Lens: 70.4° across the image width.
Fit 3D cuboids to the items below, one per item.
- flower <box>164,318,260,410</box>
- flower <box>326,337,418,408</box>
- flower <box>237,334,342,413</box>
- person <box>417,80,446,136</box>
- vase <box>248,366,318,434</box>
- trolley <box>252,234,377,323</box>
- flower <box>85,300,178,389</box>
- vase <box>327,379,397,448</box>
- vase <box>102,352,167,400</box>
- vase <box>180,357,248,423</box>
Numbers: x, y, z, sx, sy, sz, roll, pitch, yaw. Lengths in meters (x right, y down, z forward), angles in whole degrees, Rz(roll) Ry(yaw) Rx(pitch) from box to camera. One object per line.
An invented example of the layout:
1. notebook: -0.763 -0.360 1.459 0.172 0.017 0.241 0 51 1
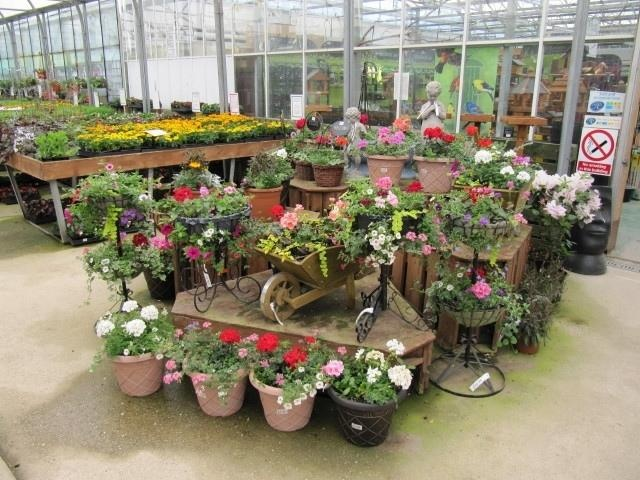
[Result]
1. flower: -0.860 0.985 3.611 0.732 0.479 0.689 14 20 37
2. flower: 0.343 0.971 3.284 0.529 0.171 0.572 -2 14 -32
3. flower: -0.172 0.963 3.378 0.713 0.304 0.688 10 13 -8
4. person: 1.318 -1.548 5.305 0.301 0.591 0.812 5 20 14
5. vase: -0.261 1.170 3.338 0.477 0.282 0.454 0 16 -1
6. trolley: -0.022 0.319 3.747 0.854 0.407 0.578 -21 19 -40
7. flower: -1.519 0.977 3.742 0.510 0.516 0.463 -15 9 -35
8. vase: 0.308 1.227 3.275 0.462 0.292 0.438 3 13 13
9. vase: -1.480 1.071 3.630 0.420 0.275 0.395 0 10 -2
10. vase: -0.786 1.140 3.435 0.465 0.309 0.438 0 17 -8
